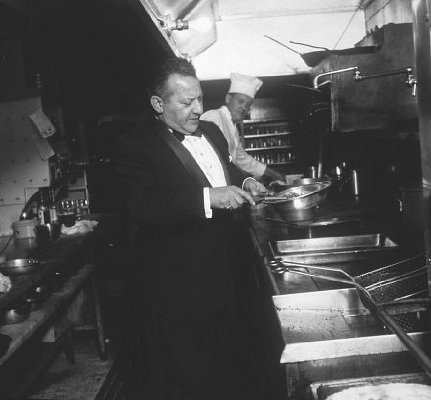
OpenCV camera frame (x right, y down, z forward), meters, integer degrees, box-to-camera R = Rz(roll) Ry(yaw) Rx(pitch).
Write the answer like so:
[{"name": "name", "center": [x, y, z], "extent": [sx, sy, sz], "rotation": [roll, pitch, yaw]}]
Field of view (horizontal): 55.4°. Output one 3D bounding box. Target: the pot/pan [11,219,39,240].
[{"name": "pot/pan", "center": [-1.338, 0.198, 2.908], "extent": [0.124, 0.080, 0.180], "rotation": [0, 4, -9]}]

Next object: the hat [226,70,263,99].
[{"name": "hat", "center": [0.256, -1.004, 3.682], "extent": [0.216, 0.170, 0.259], "rotation": [8, 4, 2]}]

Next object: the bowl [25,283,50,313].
[{"name": "bowl", "center": [-0.869, 0.477, 2.005], "extent": [0.050, 0.060, 0.216], "rotation": [7, 0, -12]}]

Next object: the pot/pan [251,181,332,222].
[{"name": "pot/pan", "center": [0.455, 0.012, 2.330], "extent": [0.379, 0.198, 0.406], "rotation": [-1, 14, 31]}]

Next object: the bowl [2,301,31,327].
[{"name": "bowl", "center": [-0.847, 0.491, 1.750], "extent": [0.088, 0.053, 0.140], "rotation": [1, 4, -6]}]

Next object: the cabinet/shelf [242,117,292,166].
[{"name": "cabinet/shelf", "center": [0.849, -0.966, 6.752], "extent": [0.971, 0.975, 0.337], "rotation": [0, -1, -5]}]

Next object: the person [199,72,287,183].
[{"name": "person", "center": [0.279, -0.571, 3.660], "extent": [0.693, 1.029, 0.696], "rotation": [3, 0, 29]}]

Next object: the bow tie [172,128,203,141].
[{"name": "bow tie", "center": [-0.131, -0.310, 1.927], "extent": [0.052, 0.060, 0.180], "rotation": [0, 15, 40]}]
